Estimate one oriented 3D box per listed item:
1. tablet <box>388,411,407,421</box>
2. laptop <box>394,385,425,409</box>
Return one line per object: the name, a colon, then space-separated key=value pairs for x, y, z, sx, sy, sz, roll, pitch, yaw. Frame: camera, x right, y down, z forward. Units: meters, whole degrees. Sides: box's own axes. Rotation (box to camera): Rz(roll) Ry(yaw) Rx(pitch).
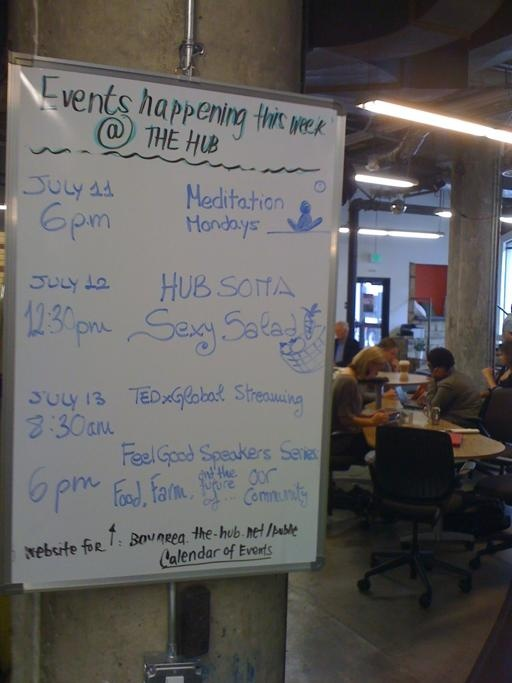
tablet: x=0.907 y=0.463 z=4.804 sx=0.095 sy=0.055 sz=0.101 roll=3 pitch=2 yaw=20
laptop: x=1.353 y=0.456 z=6.488 sx=0.223 sy=0.174 sz=0.292 roll=0 pitch=1 yaw=28
